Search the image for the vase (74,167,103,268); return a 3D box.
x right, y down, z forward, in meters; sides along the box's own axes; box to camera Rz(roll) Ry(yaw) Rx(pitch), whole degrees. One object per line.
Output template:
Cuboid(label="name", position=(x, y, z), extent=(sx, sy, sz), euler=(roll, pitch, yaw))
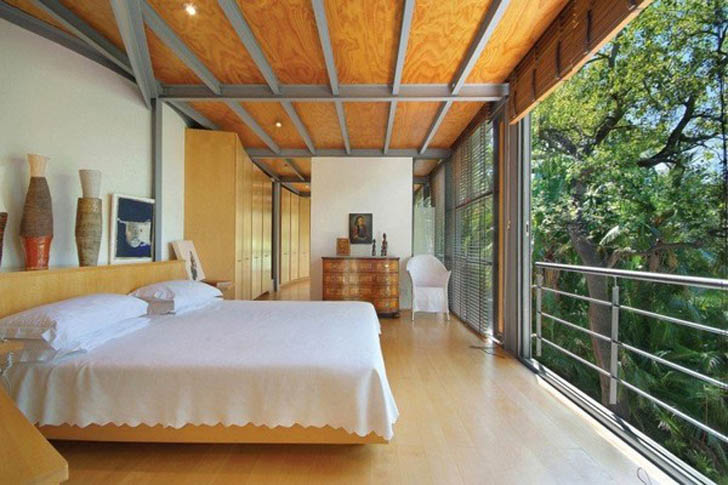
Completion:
Cuboid(label="vase", position=(-3.496, -0.328, 5.835), extent=(0.299, 1.248, 0.179), euler=(-2, -1, -25))

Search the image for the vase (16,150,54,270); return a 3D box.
Cuboid(label="vase", position=(-3.885, -0.363, 5.453), extent=(0.294, 1.362, 0.183), euler=(-2, -1, 8))

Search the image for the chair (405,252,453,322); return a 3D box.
Cuboid(label="chair", position=(1.186, 0.805, 8.451), extent=(0.752, 1.033, 0.437), euler=(-2, -1, 5))

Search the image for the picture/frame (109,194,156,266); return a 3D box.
Cuboid(label="picture/frame", position=(-3.324, -0.194, 6.640), extent=(0.188, 0.955, 0.737), euler=(-2, -1, 15))

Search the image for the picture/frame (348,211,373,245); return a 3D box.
Cuboid(label="picture/frame", position=(-0.059, -0.274, 9.107), extent=(0.593, 0.754, 0.050), euler=(0, -4, -1))
